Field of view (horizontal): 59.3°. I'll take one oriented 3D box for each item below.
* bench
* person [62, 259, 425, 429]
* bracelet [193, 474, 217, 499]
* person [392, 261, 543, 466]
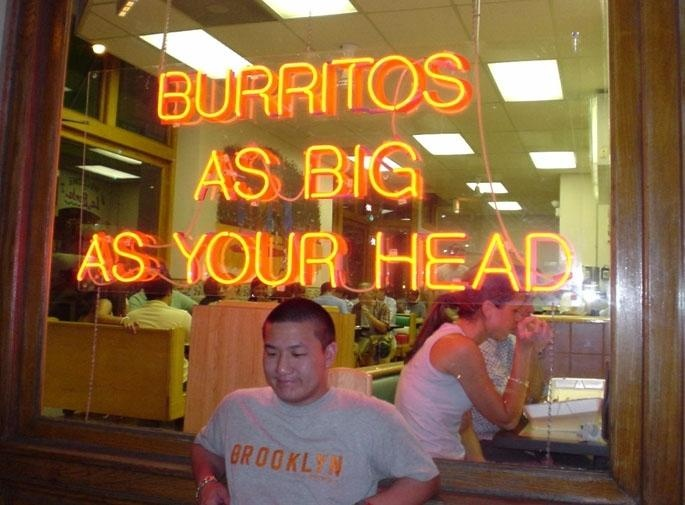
[{"bbox_3d":[-0.997,0.494,2.637,0.568,0.363,0.296,3,-6,10],"label":"bench"},{"bbox_3d":[-0.212,0.329,2.648,0.919,0.569,0.637,-2,-5,23],"label":"person"},{"bbox_3d":[-0.396,0.664,1.738,0.070,0.086,0.035,-6,-18,14],"label":"bracelet"},{"bbox_3d":[0.498,0.541,2.299,0.535,0.944,0.330,-1,26,14],"label":"person"}]
